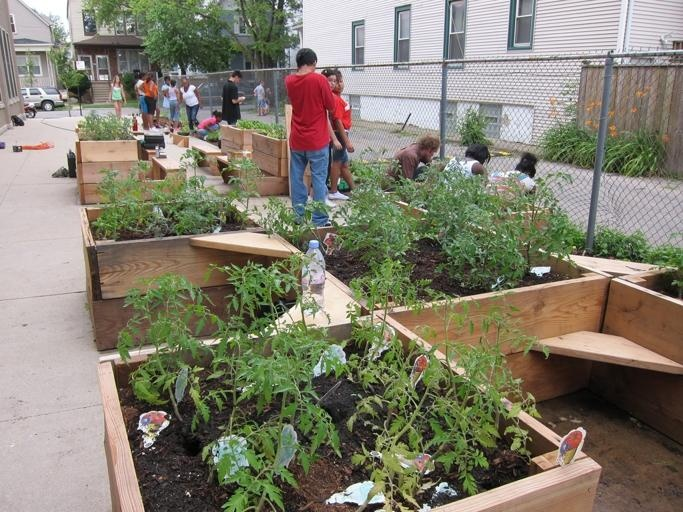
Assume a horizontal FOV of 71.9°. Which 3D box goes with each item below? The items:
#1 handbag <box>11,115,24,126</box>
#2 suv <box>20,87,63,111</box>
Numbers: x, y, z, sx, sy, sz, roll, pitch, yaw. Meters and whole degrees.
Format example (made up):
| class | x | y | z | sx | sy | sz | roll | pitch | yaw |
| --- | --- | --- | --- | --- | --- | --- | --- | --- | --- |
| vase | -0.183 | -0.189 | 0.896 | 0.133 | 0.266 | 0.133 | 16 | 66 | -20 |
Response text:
| class | x | y | z | sx | sy | sz | roll | pitch | yaw |
| --- | --- | --- | --- | --- | --- | --- | --- | --- | --- |
| handbag | -15.214 | -6.368 | 22.073 | 0.338 | 0.475 | 0.962 | -10 | 21 | -25 |
| suv | -24.706 | -13.020 | 38.993 | 1.762 | 1.788 | 4.959 | -2 | 19 | -4 |
